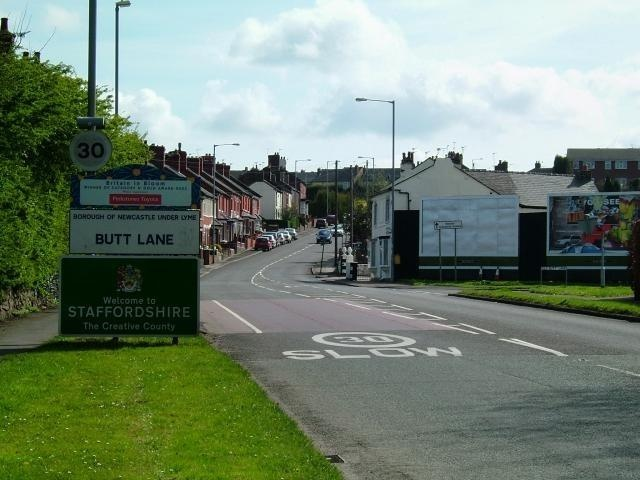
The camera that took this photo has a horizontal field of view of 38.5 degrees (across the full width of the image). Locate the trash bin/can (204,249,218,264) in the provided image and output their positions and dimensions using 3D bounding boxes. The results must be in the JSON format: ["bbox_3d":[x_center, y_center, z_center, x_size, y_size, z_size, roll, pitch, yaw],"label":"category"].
[{"bbox_3d":[-8.739,1.377,73.474,0.864,1.258,1.751,-1,0,8],"label":"trash bin/can"}]
